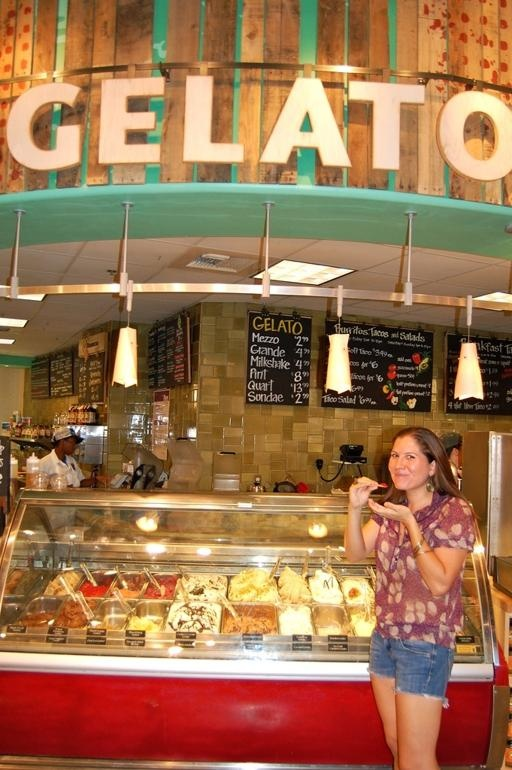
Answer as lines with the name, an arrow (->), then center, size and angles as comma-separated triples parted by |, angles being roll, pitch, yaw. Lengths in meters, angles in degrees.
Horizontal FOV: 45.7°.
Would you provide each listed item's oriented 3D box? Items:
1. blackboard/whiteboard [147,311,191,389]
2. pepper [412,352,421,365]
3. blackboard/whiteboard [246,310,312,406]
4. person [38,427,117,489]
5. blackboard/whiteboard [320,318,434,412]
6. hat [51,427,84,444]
blackboard/whiteboard -> -0.913, -0.365, 6.521 | 0.083, 0.547, 0.732 | 4, -7, -25
pepper -> 1.691, -0.261, 6.435 | 0.084, 0.113, 0.053 | -3, 3, 8
blackboard/whiteboard -> 0.191, -0.246, 5.892 | 0.822, 1.114, 0.125 | 3, -1, -15
person -> -1.498, 0.596, 4.830 | 0.369, 0.551, 0.805 | -1, 4, -10
blackboard/whiteboard -> 1.131, -0.178, 5.832 | 0.910, 0.685, 0.038 | 2, -5, -26
hat -> -1.455, 0.392, 4.723 | 0.099, 0.129, 0.246 | 1, 4, 20
